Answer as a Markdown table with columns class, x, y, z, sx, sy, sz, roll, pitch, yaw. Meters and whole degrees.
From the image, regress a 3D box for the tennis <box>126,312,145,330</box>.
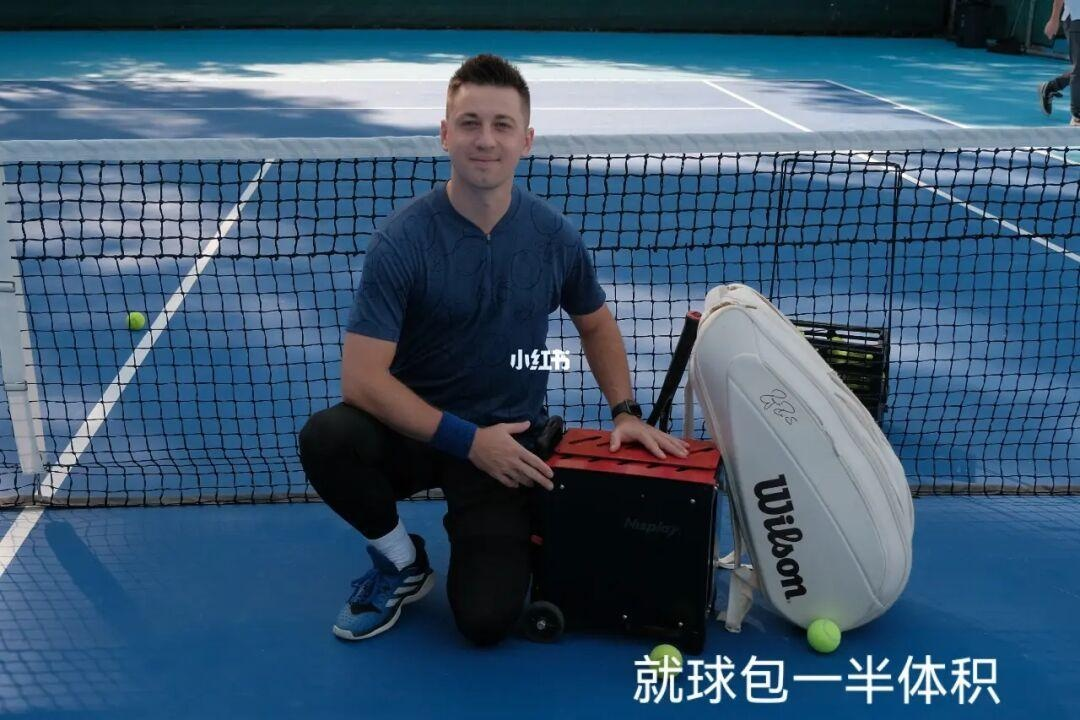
| class | x | y | z | sx | sy | sz | roll | pitch | yaw |
| --- | --- | --- | --- | --- | --- | --- | --- | --- | --- |
| tennis | -2.623 | -0.257 | 6.254 | 0.129 | 0.116 | 0.121 | -7 | 5 | -12 |

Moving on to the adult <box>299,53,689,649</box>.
| class | x | y | z | sx | sy | sz | roll | pitch | yaw |
| --- | --- | --- | --- | --- | --- | --- | --- | --- | --- |
| adult | -0.252 | -0.006 | 3.829 | 1.458 | 2.163 | 1.279 | -5 | 11 | -41 |

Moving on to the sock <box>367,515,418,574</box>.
| class | x | y | z | sx | sy | sz | roll | pitch | yaw |
| --- | --- | --- | --- | --- | --- | --- | --- | --- | --- |
| sock | -0.573 | 0.751 | 3.818 | 0.140 | 0.214 | 0.211 | -24 | 33 | -10 |

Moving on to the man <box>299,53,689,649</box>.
| class | x | y | z | sx | sy | sz | roll | pitch | yaw |
| --- | --- | --- | --- | --- | --- | --- | --- | --- | --- |
| man | -0.254 | -0.019 | 3.843 | 1.498 | 2.209 | 1.321 | -3 | 10 | -35 |

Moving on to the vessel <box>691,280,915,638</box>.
| class | x | y | z | sx | sy | sz | roll | pitch | yaw |
| --- | --- | --- | --- | --- | --- | --- | --- | --- | --- |
| vessel | 1.013 | 0.396 | 3.745 | 0.888 | 1.276 | 0.419 | 3 | 19 | 14 |

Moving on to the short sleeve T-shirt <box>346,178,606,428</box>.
| class | x | y | z | sx | sy | sz | roll | pitch | yaw |
| --- | --- | --- | --- | --- | --- | --- | --- | --- | --- |
| short sleeve T-shirt | -0.213 | -0.233 | 3.998 | 1.127 | 0.914 | 0.474 | -1 | 20 | -12 |

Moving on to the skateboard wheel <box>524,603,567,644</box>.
| class | x | y | z | sx | sy | sz | roll | pitch | yaw |
| --- | --- | --- | --- | --- | --- | --- | --- | --- | --- |
| skateboard wheel | 0.025 | 1.039 | 3.767 | 0.152 | 0.147 | 0.079 | 6 | 10 | 7 |

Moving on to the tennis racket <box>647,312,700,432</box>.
| class | x | y | z | sx | sy | sz | roll | pitch | yaw |
| --- | --- | --- | --- | --- | --- | --- | --- | --- | --- |
| tennis racket | 0.545 | 0.093 | 3.963 | 0.134 | 0.624 | 0.109 | 25 | 36 | 16 |

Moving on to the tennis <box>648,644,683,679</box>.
| class | x | y | z | sx | sy | sz | roll | pitch | yaw |
| --- | --- | --- | --- | --- | --- | --- | --- | --- | --- |
| tennis | 0.489 | 1.158 | 3.669 | 0.111 | 0.085 | 0.117 | -11 | -9 | 37 |

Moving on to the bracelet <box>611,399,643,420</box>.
| class | x | y | z | sx | sy | sz | roll | pitch | yaw |
| --- | --- | --- | --- | --- | --- | --- | --- | --- | --- |
| bracelet | 0.354 | 0.213 | 3.960 | 0.114 | 0.071 | 0.116 | -20 | -16 | 40 |
